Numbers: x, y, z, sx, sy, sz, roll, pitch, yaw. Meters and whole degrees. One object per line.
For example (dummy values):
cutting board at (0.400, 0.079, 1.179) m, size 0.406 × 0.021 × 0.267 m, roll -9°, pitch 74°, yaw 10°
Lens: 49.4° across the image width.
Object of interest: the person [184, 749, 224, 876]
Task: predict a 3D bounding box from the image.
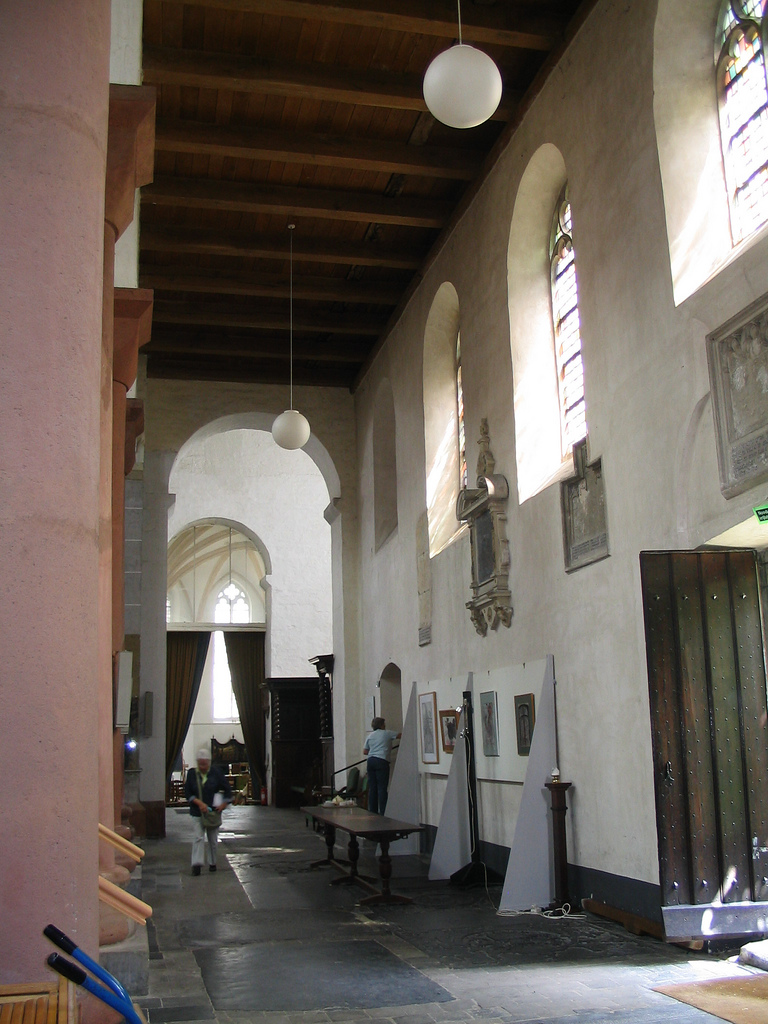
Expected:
person at (-2.187, 3.722, 10.259) m, size 0.486 × 1.365 × 1.214 m, roll 1°, pitch -13°, yaw -11°

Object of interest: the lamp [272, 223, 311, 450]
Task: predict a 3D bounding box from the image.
lamp at (-1.299, -2.448, 11.785) m, size 0.396 × 0.522 × 3.268 m, roll -1°, pitch -57°, yaw -9°

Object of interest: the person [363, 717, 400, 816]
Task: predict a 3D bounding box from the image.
person at (-0.073, 3.809, 12.684) m, size 0.352 × 1.576 × 0.384 m, roll 3°, pitch 11°, yaw 12°
